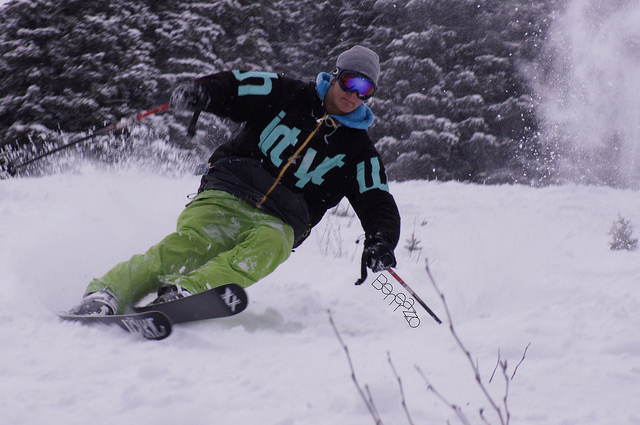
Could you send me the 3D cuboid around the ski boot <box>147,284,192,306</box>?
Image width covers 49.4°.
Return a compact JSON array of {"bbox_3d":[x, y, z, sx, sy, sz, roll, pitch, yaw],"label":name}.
[{"bbox_3d":[-1.738,0.936,8.002,0.398,0.159,0.240,-27,52,-17],"label":"ski boot"}]
